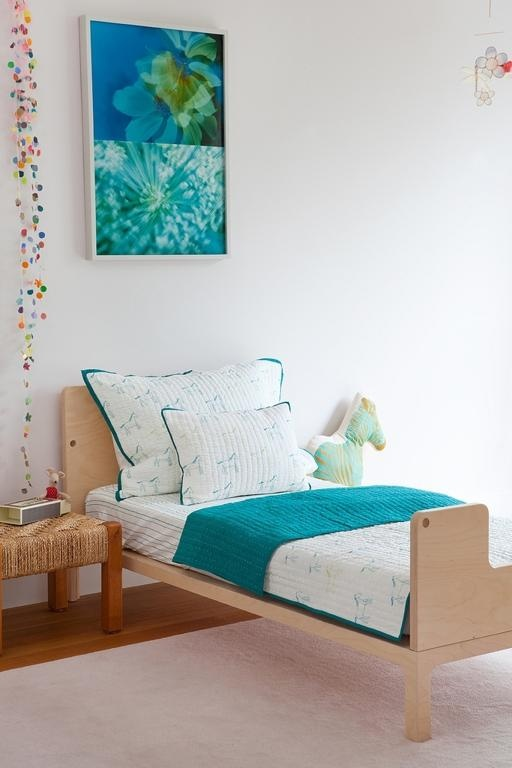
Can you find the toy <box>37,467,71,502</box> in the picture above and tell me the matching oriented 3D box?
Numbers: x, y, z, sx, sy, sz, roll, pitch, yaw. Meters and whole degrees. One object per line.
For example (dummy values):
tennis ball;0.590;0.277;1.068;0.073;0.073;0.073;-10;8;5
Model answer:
toy;-0.733;0.365;2.430;0.113;0.142;0.065;5;-9;-28
